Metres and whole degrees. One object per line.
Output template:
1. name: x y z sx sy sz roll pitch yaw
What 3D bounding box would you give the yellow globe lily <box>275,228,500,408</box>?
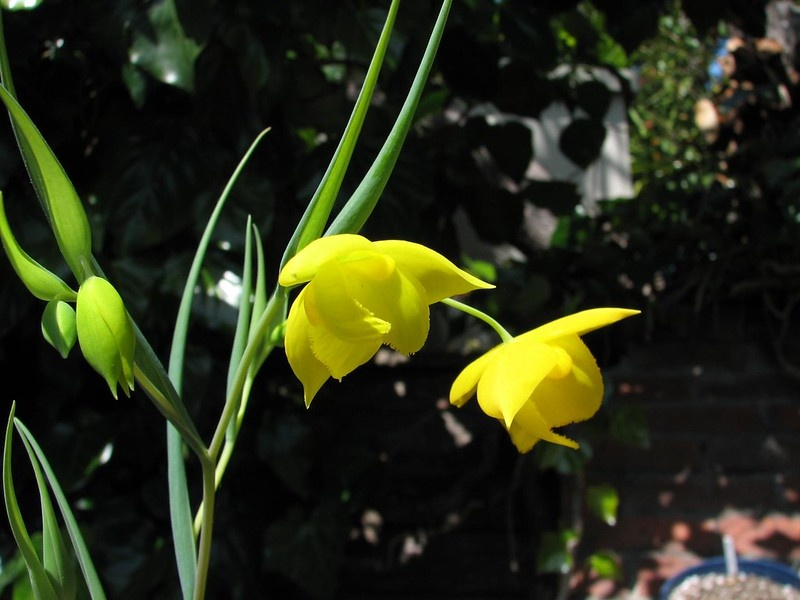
1. yellow globe lily: -0.023 0.004 1.086 0.182 0.126 0.256 -11 -39 -20
